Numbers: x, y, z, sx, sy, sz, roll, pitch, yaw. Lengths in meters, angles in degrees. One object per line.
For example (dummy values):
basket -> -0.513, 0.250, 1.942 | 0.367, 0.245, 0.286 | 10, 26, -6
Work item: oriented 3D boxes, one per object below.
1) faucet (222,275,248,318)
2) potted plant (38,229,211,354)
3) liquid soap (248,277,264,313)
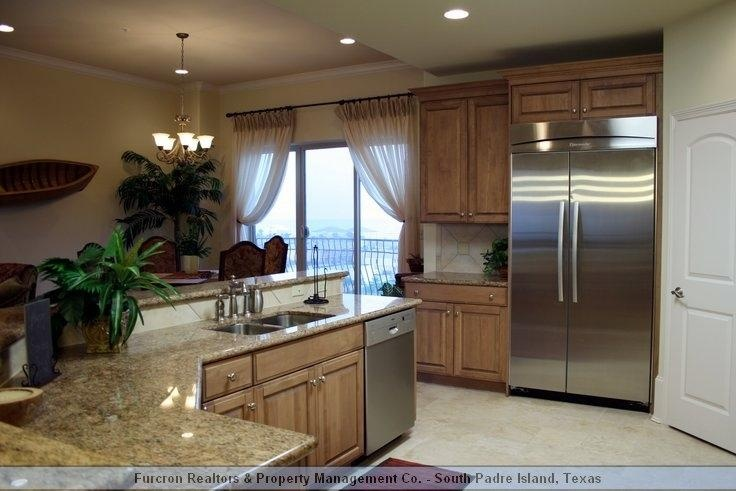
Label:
faucet -> -0.945, 0.357, 3.632 | 0.153, 0.290, 0.321 | -2, 7, -13
potted plant -> -1.490, 0.262, 2.878 | 0.630, 0.682, 0.323 | -3, 7, -19
liquid soap -> -0.833, 0.365, 3.696 | 0.121, 0.257, 0.114 | -7, 16, -40
